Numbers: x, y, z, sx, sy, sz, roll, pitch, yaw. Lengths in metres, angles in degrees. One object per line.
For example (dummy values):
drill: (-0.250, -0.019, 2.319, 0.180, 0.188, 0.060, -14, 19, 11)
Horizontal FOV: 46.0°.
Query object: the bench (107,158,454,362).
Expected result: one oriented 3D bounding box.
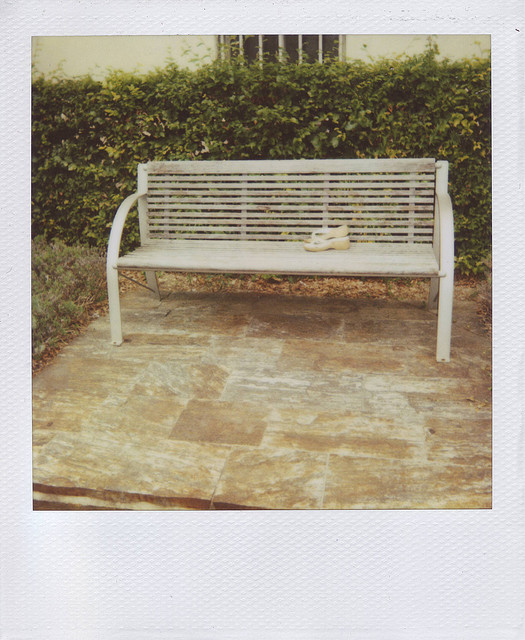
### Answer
bench: (0.158, -0.494, 3.934, 1.907, 1.099, 1.759, 0, 12, 12)
